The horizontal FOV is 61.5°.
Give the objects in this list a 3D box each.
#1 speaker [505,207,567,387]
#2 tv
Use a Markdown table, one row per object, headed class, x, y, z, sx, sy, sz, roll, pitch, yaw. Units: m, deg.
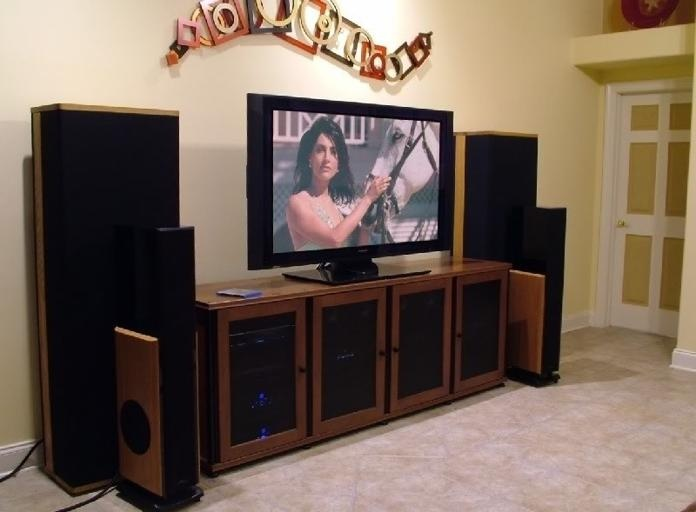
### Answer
| class | x | y | z | sx | sy | sz | roll | pitch | yaw |
| --- | --- | --- | --- | --- | --- | --- | --- | --- | --- |
| speaker | 1.343 | 0.278 | 4.224 | 0.387 | 1.243 | 0.295 | 3 | 9 | 17 |
| tv | -0.024 | -0.398 | 3.541 | 1.088 | 0.873 | 0.293 | -4 | 7 | -38 |
